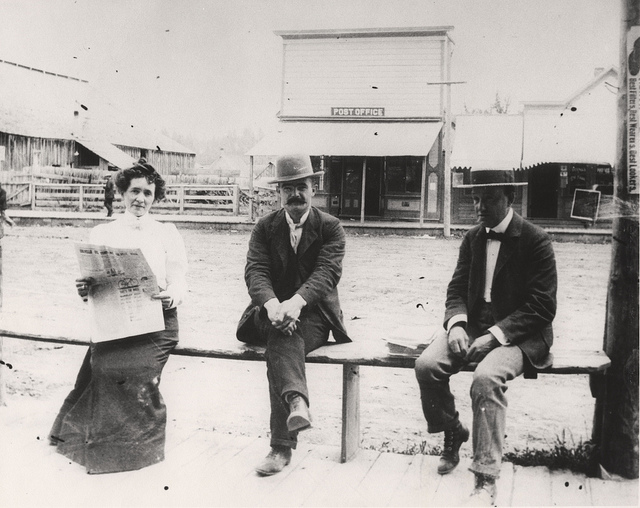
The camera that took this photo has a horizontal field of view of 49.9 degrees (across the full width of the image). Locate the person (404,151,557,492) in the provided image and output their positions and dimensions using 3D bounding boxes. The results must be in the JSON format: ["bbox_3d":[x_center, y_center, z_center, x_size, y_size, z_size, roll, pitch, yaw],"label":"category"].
[{"bbox_3d":[1.146,0.497,4.887,0.915,2.167,0.814,-5,8,-41],"label":"person"}]

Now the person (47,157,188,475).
[{"bbox_3d":[-1.494,0.433,5.167,0.981,2.265,0.634,-1,6,-15],"label":"person"}]

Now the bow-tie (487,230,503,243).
[{"bbox_3d":[1.281,-0.129,5.015,0.113,0.079,0.033,4,7,26],"label":"bow-tie"}]

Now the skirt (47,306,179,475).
[{"bbox_3d":[-1.552,0.950,5.335,0.647,1.236,0.876,11,-5,-42],"label":"skirt"}]
